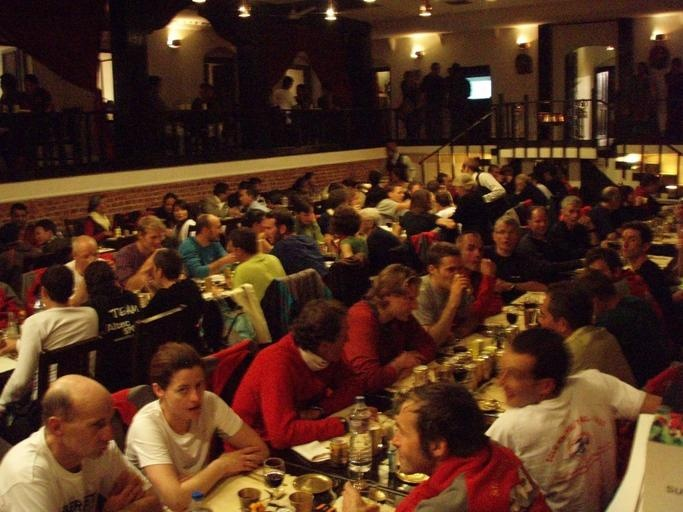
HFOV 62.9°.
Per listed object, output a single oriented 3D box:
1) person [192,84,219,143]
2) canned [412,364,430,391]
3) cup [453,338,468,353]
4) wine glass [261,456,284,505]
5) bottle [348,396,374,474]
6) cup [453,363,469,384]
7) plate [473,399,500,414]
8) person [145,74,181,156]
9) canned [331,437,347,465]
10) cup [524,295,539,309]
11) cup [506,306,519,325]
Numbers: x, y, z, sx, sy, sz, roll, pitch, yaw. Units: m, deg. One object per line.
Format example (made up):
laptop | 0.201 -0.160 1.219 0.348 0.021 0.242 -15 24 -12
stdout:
person | -2.954 -3.029 11.896 0.408 1.297 0.752 0 8 27
canned | 0.460 0.683 3.227 0.091 0.084 0.227 -2 6 9
cup | 0.808 0.631 3.845 0.064 0.058 0.066 -1 9 0
wine glass | -0.296 0.957 2.455 0.102 0.123 0.230 -4 7 -7
bottle | 0.084 0.830 2.608 0.121 0.256 0.312 -3 7 2
cup | 0.704 0.695 3.298 0.075 0.106 0.076 -3 7 0
plate | 0.811 0.821 3.056 0.117 0.037 0.153 -2 6 8
person | -3.575 -2.754 10.997 0.278 1.496 0.620 -1 7 23
canned | 0.006 0.914 2.605 0.088 0.091 0.085 1 0 3
cup | 1.640 0.398 4.831 0.170 0.117 0.124 0 4 -1
cup | 1.310 0.468 4.285 0.113 0.170 0.117 0 1 0
